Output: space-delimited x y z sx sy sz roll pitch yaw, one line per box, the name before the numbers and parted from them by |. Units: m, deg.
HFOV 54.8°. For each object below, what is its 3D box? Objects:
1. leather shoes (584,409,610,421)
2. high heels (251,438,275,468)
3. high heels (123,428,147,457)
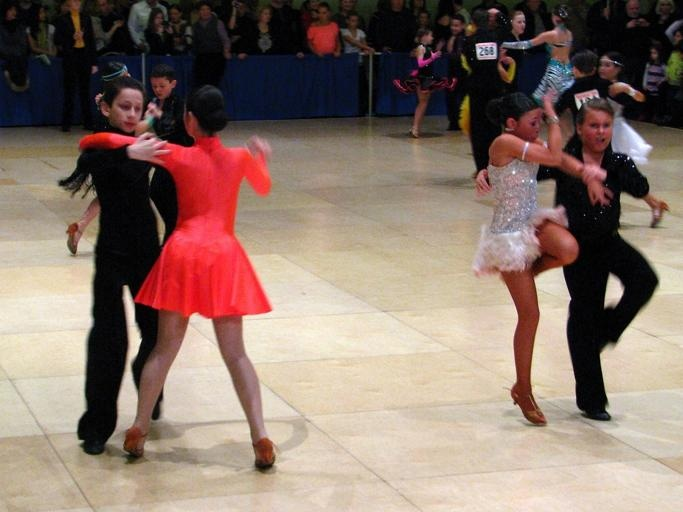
leather shoes | 1.508 0.927 3.861 0.123 0.047 0.061 -1 5 11
high heels | -0.382 0.965 3.221 0.106 0.146 0.155 0 17 -17
high heels | -1.022 0.923 3.320 0.104 0.174 0.128 3 -3 0
